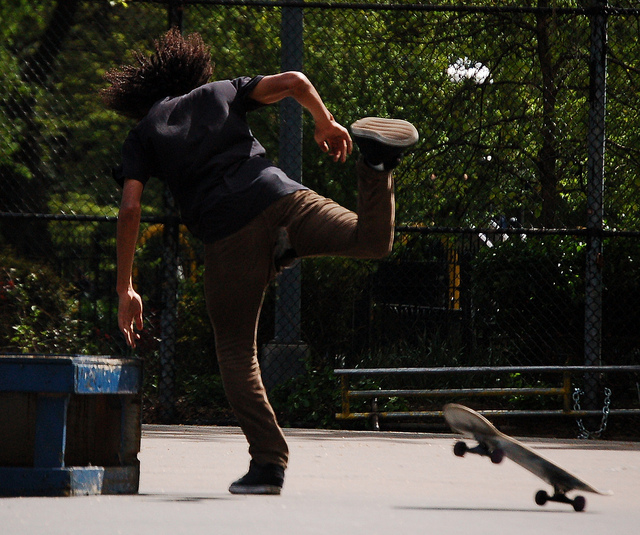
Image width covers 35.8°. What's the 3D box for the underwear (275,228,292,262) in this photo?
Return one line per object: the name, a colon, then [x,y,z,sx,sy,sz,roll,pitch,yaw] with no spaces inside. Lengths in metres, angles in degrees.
underwear: [-0.223,-0.142,5.864,0.039,0.101,0.139,-2,-40,-24]
